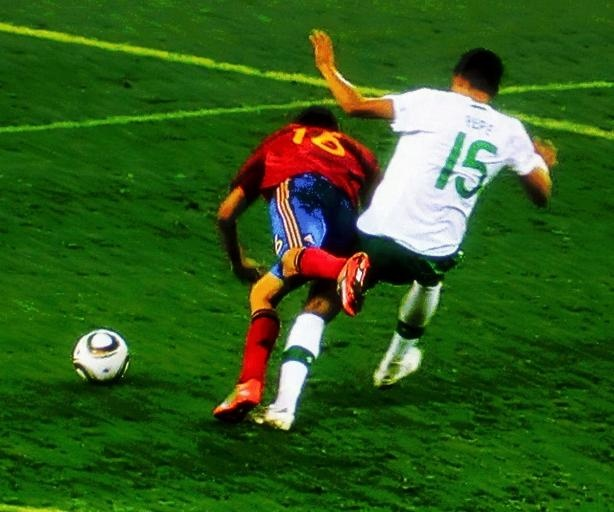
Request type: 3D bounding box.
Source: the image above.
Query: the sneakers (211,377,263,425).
[{"bbox_3d":[-0.420,0.892,10.769,0.113,0.281,0.222,61,4,-3],"label":"sneakers"}]

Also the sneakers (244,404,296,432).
[{"bbox_3d":[-0.228,1.002,10.865,0.172,0.073,0.256,21,-21,-30],"label":"sneakers"}]

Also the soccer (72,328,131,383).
[{"bbox_3d":[-1.324,0.621,11.245,0.346,0.336,0.329,-4,5,-24],"label":"soccer"}]

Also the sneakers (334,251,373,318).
[{"bbox_3d":[0.277,0.173,10.686,0.181,0.356,0.172,11,25,-11],"label":"sneakers"}]
